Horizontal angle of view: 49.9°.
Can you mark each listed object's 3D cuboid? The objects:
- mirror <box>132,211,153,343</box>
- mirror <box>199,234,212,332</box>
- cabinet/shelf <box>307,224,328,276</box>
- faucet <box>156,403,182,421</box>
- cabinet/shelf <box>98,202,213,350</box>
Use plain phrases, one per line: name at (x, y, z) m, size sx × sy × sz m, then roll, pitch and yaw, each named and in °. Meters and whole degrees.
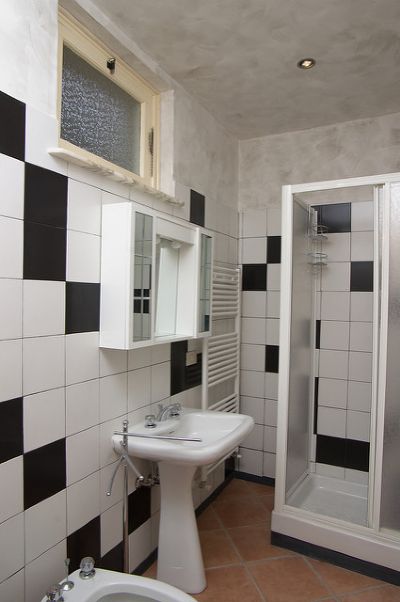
mirror at (-0.218, -0.077, 1.652) m, size 0.029 × 0.530 × 0.160 m, roll -5°, pitch 10°, yaw -40°
mirror at (0.024, -0.082, 2.200) m, size 0.009 × 0.519 × 0.106 m, roll 1°, pitch 2°, yaw 23°
cabinet/shelf at (0.729, -0.328, 2.655) m, size 0.112 × 0.322 × 0.358 m, roll 0°, pitch -1°, yaw 17°
faucet at (-0.139, 0.493, 1.967) m, size 0.045 × 0.064 × 0.155 m, roll 0°, pitch 1°, yaw 22°
cabinet/shelf at (-0.150, -0.089, 1.916) m, size 0.132 × 0.569 × 0.547 m, roll 3°, pitch 1°, yaw 37°
